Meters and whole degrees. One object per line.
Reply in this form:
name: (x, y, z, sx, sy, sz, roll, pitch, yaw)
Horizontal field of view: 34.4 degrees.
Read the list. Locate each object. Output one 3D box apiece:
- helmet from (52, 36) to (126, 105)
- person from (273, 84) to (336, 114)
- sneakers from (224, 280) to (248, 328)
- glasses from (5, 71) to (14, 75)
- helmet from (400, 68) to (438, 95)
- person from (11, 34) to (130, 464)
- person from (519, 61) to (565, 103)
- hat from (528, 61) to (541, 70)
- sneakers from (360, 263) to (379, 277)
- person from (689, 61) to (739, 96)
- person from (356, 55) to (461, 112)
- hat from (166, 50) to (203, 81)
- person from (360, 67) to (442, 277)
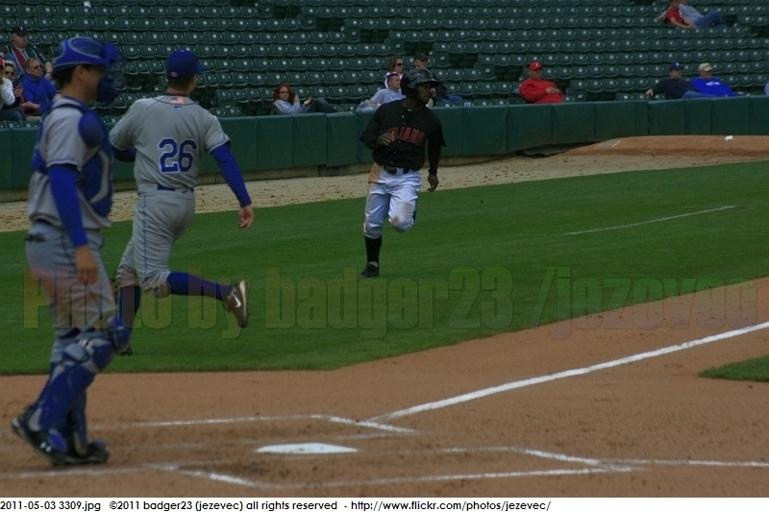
helmet: (-2.482, -1.564, 10.429, 0.660, 0.546, 0.490, -8, 13, -9)
person: (-1.395, -2.688, 21.301, 0.941, 0.487, 1.209, 4, 14, 23)
sneakers: (-1.336, 0.422, 11.514, 0.239, 0.438, 0.175, -17, 15, -40)
glasses: (-5.816, -2.828, 19.204, 0.082, 0.022, 0.081, 2, -13, -39)
helmet: (0.396, -1.961, 14.028, 0.393, 0.261, 0.282, 8, 9, 6)
person: (-2.667, -0.045, 10.387, 0.858, 3.447, 1.098, -1, 14, 3)
person: (2.928, -3.208, 23.190, 0.782, 0.737, 0.773, 3, 14, 17)
hat: (2.844, -3.563, 23.296, 0.211, 0.142, 0.276, -3, 1, -7)
sneakers: (-0.150, 0.138, 14.168, 0.217, 0.152, 0.294, -2, 13, -1)
person: (6.508, -3.362, 24.278, 0.715, 0.455, 0.990, -10, 33, -16)
person: (0.330, -2.730, 19.871, 0.709, 0.855, 2.161, 10, 20, 32)
hat: (-1.851, -1.788, 11.572, 0.250, 0.174, 0.338, 4, 35, 3)
person: (0.201, -0.967, 14.191, 0.957, 2.295, 0.868, -1, 14, 2)
